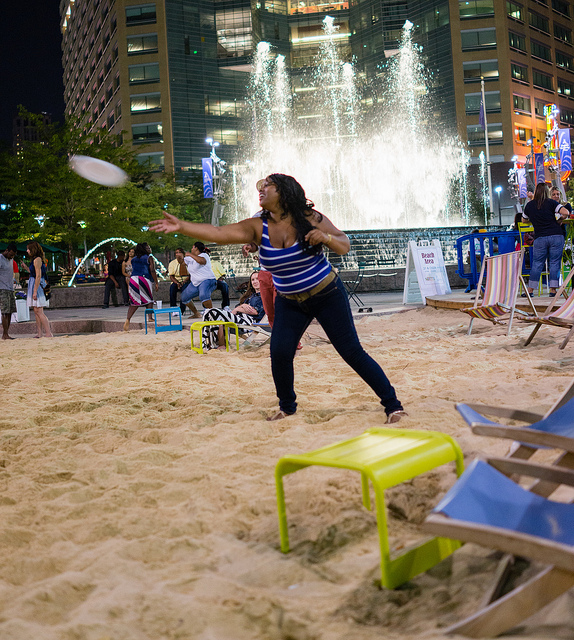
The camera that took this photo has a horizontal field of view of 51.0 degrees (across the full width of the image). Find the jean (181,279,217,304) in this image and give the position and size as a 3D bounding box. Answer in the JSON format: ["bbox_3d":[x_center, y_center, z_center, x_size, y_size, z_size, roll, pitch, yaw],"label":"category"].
[{"bbox_3d":[-1.634,-0.670,11.598,0.762,0.646,0.423,4,-5,45],"label":"jean"}]

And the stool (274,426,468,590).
[{"bbox_3d":[0.389,0.611,2.487,0.650,0.476,0.648,3,10,37],"label":"stool"}]

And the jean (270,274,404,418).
[{"bbox_3d":[0.349,0.071,4.435,0.841,1.053,0.814,1,9,5],"label":"jean"}]

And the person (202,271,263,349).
[{"bbox_3d":[-0.790,-0.116,9.246,0.828,1.363,0.560,11,-3,-16],"label":"person"}]

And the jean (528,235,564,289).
[{"bbox_3d":[4.681,-1.042,10.864,0.510,0.962,0.508,5,10,29],"label":"jean"}]

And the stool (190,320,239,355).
[{"bbox_3d":[-1.081,0.181,8.795,0.664,0.489,0.488,-2,0,-36],"label":"stool"}]

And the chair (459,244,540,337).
[{"bbox_3d":[2.935,-0.371,8.268,1.189,1.150,0.804,-5,0,-25],"label":"chair"}]

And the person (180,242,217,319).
[{"bbox_3d":[-1.735,-0.760,11.512,0.705,1.443,0.848,-2,-1,-41],"label":"person"}]
